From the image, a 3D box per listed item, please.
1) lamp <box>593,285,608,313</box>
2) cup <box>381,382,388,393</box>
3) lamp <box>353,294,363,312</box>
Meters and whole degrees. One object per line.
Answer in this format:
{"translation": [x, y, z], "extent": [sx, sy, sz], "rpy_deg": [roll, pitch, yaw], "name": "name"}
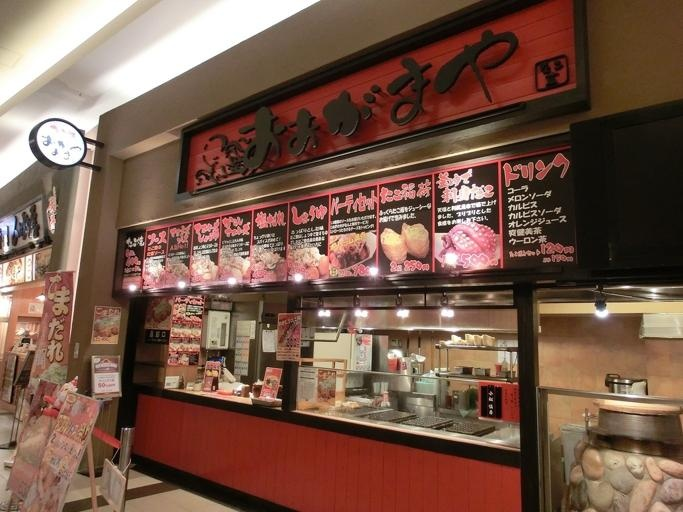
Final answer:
{"translation": [2.076, 0.344, 3.748], "extent": [0.068, 0.197, 0.240], "rpy_deg": [-4, -13, 27], "name": "lamp"}
{"translation": [0.622, 1.863, 6.668], "extent": [0.077, 0.127, 0.230], "rpy_deg": [-1, -12, 14], "name": "cup"}
{"translation": [0.184, 0.516, 5.181], "extent": [0.108, 0.159, 0.234], "rpy_deg": [1, -12, 2], "name": "lamp"}
